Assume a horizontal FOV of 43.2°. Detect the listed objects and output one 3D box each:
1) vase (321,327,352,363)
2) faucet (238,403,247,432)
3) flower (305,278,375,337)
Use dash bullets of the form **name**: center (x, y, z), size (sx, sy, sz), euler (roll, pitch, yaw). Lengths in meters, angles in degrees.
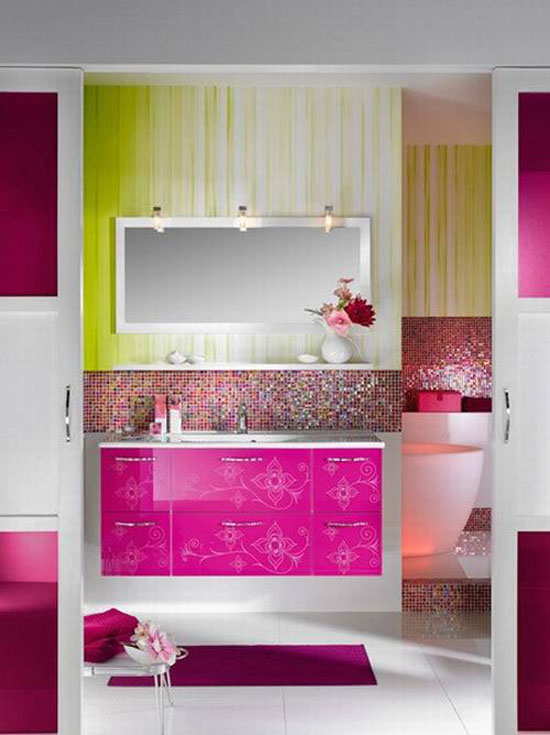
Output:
- **vase**: center (0.326, -0.106, 3.712), size (0.165, 0.193, 0.134), euler (2, -3, 26)
- **faucet**: center (-0.160, 0.271, 3.657), size (0.053, 0.138, 0.130), euler (0, 1, -3)
- **flower**: center (0.348, -0.326, 3.650), size (0.364, 0.307, 0.193), euler (0, 1, 5)
